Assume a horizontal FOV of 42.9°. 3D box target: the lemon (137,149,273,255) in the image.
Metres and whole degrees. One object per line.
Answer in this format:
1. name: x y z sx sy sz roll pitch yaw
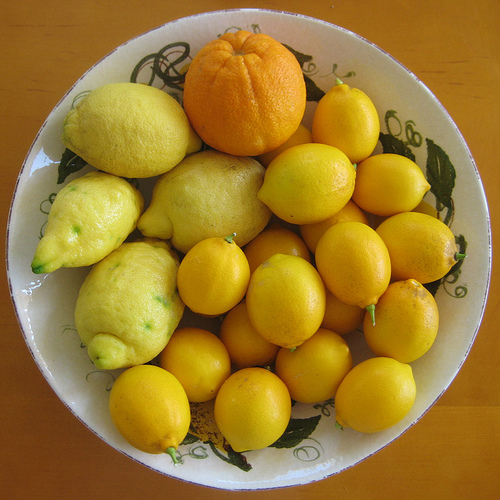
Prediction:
1. lemon: -0.069 -0.097 1.114 0.248 0.181 0.120 -19 89 27

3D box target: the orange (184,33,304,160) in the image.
1. orange: -0.055 -0.260 1.068 0.229 0.247 0.176 36 133 50

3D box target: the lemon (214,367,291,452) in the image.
1. lemon: 0.007 0.254 1.066 0.141 0.111 0.120 13 85 15

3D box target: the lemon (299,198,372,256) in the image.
1. lemon: 0.151 -0.023 1.113 0.095 0.117 0.078 31 127 43

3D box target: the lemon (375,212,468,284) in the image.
1. lemon: 0.309 -0.010 1.080 0.144 0.160 0.108 -11 110 -19

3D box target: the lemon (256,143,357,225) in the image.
1. lemon: 0.088 -0.109 1.052 0.194 0.129 0.109 -12 82 5

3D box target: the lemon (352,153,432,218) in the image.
1. lemon: 0.225 -0.106 1.100 0.156 0.111 0.089 0 103 18

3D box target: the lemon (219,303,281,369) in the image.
1. lemon: -0.027 0.147 1.127 0.141 0.113 0.119 4 63 -7

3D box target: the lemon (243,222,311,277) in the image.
1. lemon: 0.041 -0.005 1.138 0.093 0.107 0.095 -37 43 44

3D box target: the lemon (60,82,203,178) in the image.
1. lemon: -0.189 -0.199 1.077 0.293 0.195 0.135 7 104 39

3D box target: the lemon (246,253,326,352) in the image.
1. lemon: 0.058 0.083 1.047 0.142 0.125 0.134 -18 86 22

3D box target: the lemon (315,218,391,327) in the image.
1. lemon: 0.164 0.041 1.052 0.120 0.114 0.166 -32 78 1
